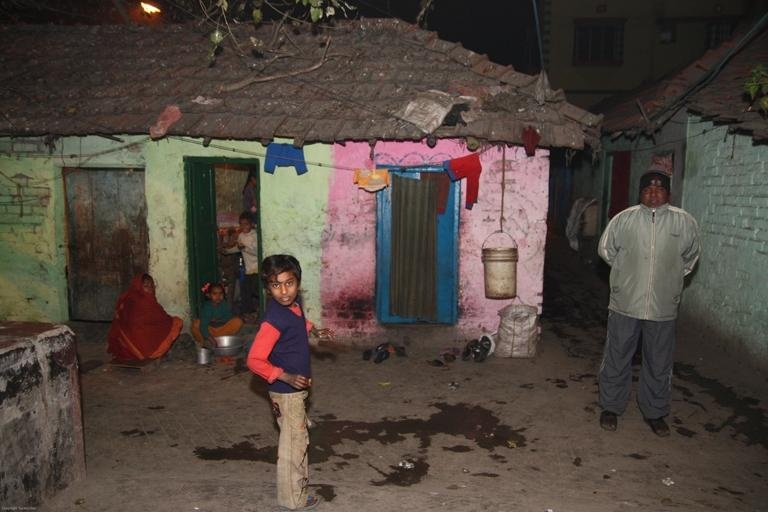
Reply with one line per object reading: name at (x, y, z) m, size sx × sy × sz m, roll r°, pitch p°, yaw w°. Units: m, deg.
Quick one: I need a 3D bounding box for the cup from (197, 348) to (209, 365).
cup at (-3.064, 1.711, 12.148) m, size 0.274 × 0.253 × 0.262 m, roll 0°, pitch 1°, yaw 0°

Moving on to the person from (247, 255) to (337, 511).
person at (-1.193, 1.584, 8.831) m, size 0.780 × 3.206 × 0.625 m, roll -1°, pitch 10°, yaw -1°

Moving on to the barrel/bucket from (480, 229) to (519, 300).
barrel/bucket at (2.011, 0.180, 12.471) m, size 0.622 × 1.226 × 0.412 m, roll 1°, pitch 10°, yaw 6°

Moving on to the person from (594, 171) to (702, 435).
person at (3.666, 0.654, 10.135) m, size 1.269 × 3.713 × 0.738 m, roll 2°, pitch 10°, yaw 14°
